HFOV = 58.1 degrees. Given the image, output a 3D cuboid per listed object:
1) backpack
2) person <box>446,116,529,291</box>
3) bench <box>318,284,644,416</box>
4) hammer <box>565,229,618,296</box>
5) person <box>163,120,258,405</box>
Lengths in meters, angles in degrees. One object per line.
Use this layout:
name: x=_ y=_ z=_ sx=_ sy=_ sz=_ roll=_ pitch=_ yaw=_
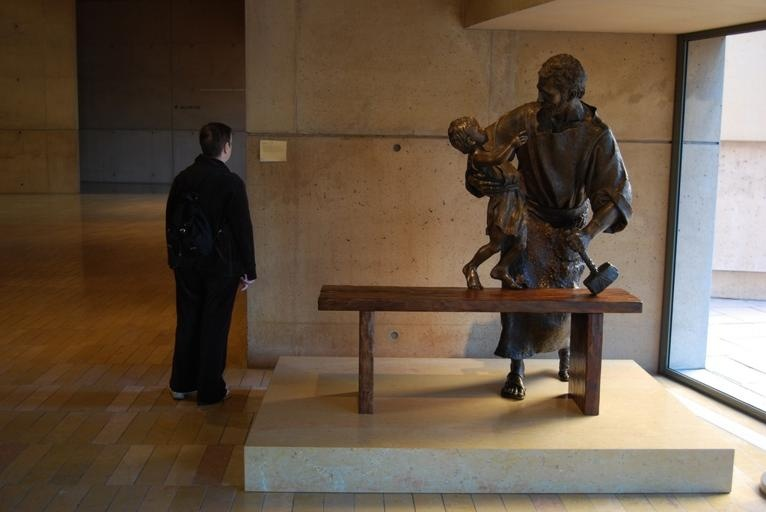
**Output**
backpack: x=-1.484 y=-0.332 z=5.263 sx=0.381 sy=0.839 sz=0.489 roll=-1 pitch=-2 yaw=15
person: x=0.743 y=-0.373 z=4.873 sx=0.552 sy=1.187 sz=0.323 roll=2 pitch=9 yaw=11
bench: x=0.680 y=0.657 z=4.828 sx=2.093 sy=0.853 sz=0.430 roll=1 pitch=9 yaw=-2
hammer: x=1.425 y=0.068 z=4.827 sx=0.288 sy=0.512 sz=0.139 roll=-36 pitch=-9 yaw=-4
person: x=-1.386 y=0.051 z=5.394 sx=0.727 sy=2.108 sz=0.580 roll=8 pitch=9 yaw=25
